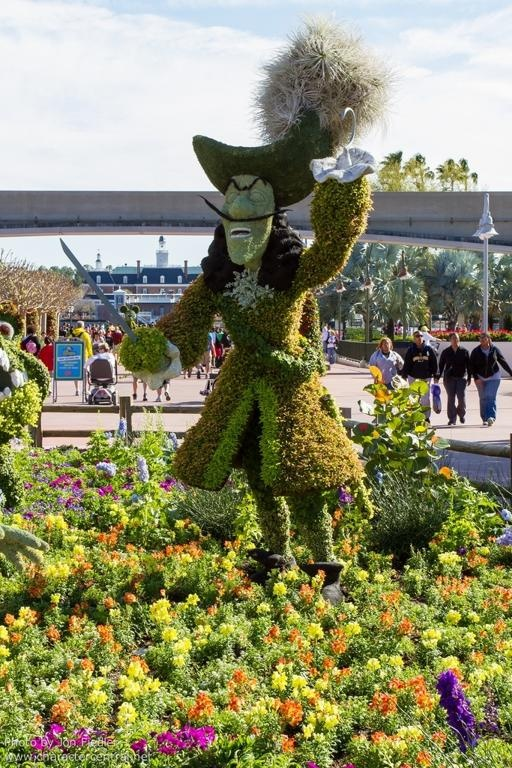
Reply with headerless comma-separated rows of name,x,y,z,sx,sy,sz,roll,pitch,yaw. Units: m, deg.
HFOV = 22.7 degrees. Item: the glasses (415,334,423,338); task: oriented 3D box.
glasses,1.718,-0.499,13.516,0.057,0.020,0.059,2,-14,-21
